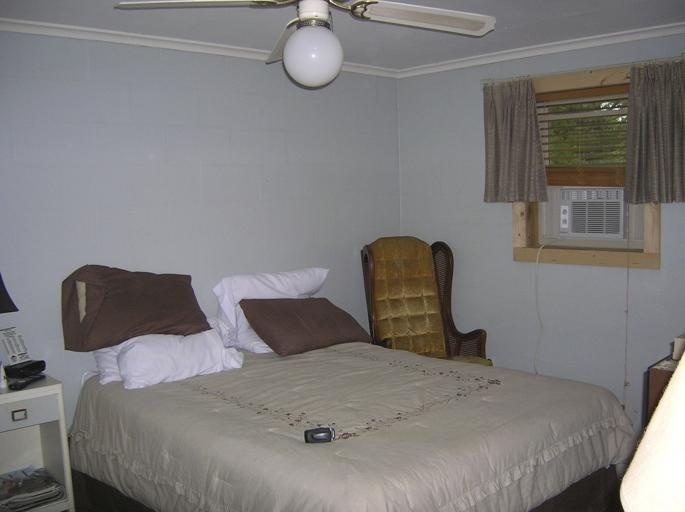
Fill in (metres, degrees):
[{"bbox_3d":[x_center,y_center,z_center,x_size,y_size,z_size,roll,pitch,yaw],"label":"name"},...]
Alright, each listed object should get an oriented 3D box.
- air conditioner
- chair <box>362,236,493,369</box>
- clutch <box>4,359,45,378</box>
[{"bbox_3d":[2.084,-0.343,4.567,0.688,0.434,0.371,1,-1,14],"label":"air conditioner"},{"bbox_3d":[0.676,0.530,4.443,0.990,1.396,1.048,-1,1,-4],"label":"chair"},{"bbox_3d":[-1.950,0.682,3.256,0.115,0.049,0.119,1,3,20],"label":"clutch"}]
